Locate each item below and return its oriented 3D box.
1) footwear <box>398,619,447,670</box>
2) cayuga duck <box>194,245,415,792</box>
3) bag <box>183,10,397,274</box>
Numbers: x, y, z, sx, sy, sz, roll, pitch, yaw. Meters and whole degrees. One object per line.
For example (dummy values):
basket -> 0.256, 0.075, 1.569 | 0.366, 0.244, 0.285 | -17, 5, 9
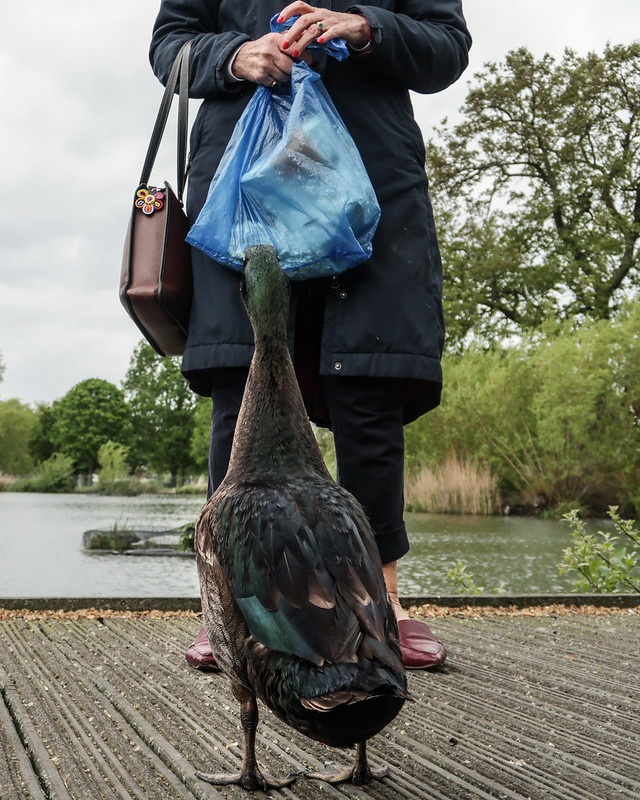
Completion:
footwear -> 0.297, 0.745, 2.642 | 0.143, 0.074, 0.238 | 1, 3, -16
cayuga duck -> -0.053, 0.202, 1.632 | 0.367, 1.107, 0.529 | 1, -7, -8
bag -> -0.094, -0.660, 2.346 | 0.513, 0.588, 0.331 | 2, 25, 10
